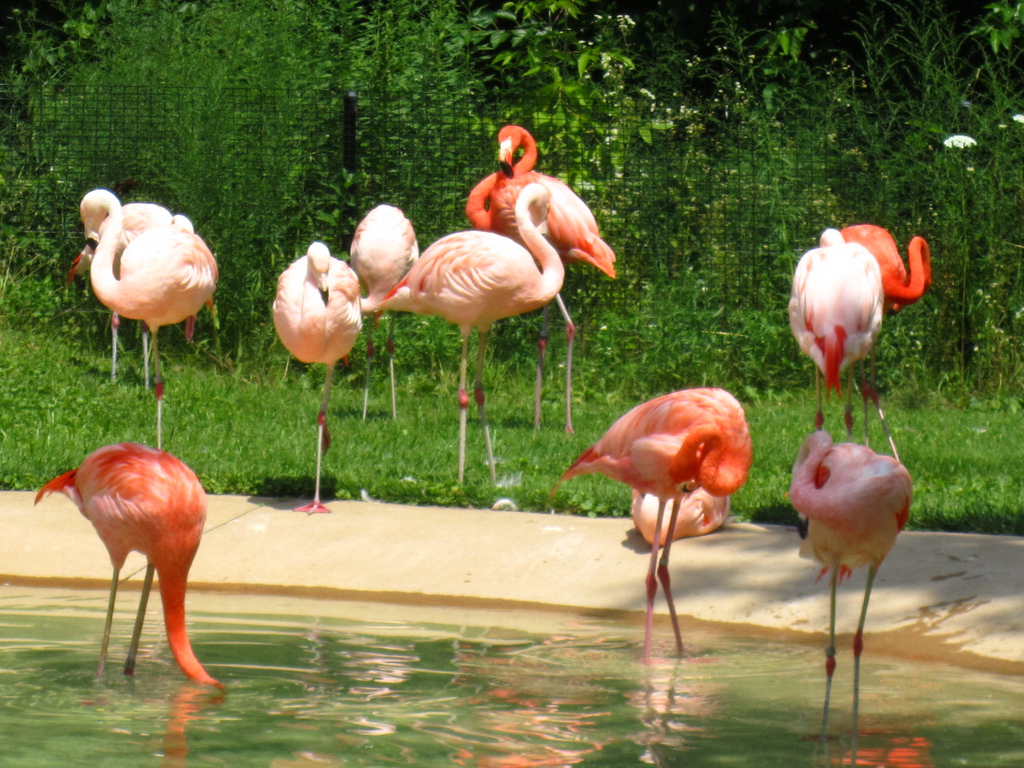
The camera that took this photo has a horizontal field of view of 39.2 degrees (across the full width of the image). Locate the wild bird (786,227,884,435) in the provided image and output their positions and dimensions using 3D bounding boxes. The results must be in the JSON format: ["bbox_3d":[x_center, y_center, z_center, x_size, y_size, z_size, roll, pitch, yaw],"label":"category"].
[{"bbox_3d":[1.856,-0.382,8.304,0.493,0.953,0.465,-9,15,-41],"label":"wild bird"}]

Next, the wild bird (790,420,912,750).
[{"bbox_3d":[1.373,0.786,5.946,0.488,1.107,0.924,1,12,1],"label":"wild bird"}]

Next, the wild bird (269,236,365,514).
[{"bbox_3d":[-1.126,-0.095,8.336,0.495,1.486,0.896,-1,12,-8],"label":"wild bird"}]

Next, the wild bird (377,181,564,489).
[{"bbox_3d":[-0.183,-0.287,8.870,0.882,1.703,0.829,-6,13,-31],"label":"wild bird"}]

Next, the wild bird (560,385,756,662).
[{"bbox_3d":[0.693,0.616,6.580,0.755,1.131,0.487,3,11,9],"label":"wild bird"}]
